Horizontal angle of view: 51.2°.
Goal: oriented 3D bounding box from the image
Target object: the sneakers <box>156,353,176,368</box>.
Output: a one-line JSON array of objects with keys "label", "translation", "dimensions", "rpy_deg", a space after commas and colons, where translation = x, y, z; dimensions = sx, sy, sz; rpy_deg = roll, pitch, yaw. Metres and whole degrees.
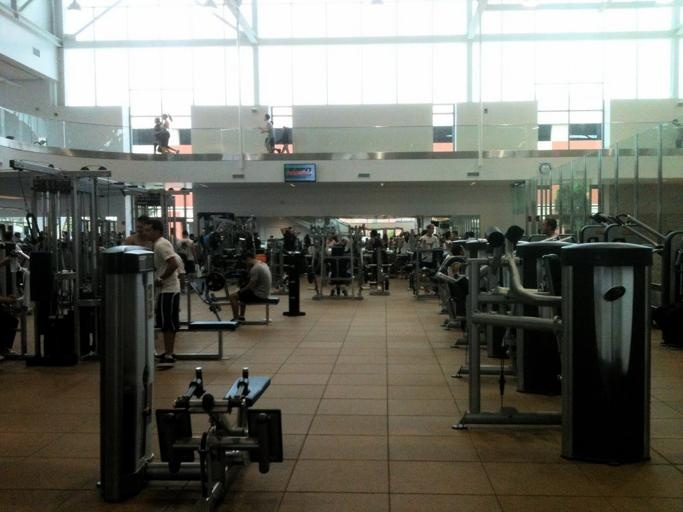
[{"label": "sneakers", "translation": [-2.096, 1.215, 8.399], "dimensions": [0.264, 0.131, 0.244], "rpy_deg": [1, 12, 9]}]

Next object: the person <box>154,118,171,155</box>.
[{"label": "person", "translation": [-4.952, -3.344, 19.612], "dimensions": [0.432, 0.973, 0.234], "rpy_deg": [-3, 11, -11]}]

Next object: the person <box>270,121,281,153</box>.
[{"label": "person", "translation": [-1.865, -3.275, 19.675], "dimensions": [0.174, 0.809, 0.236], "rpy_deg": [-2, 11, -6]}]
